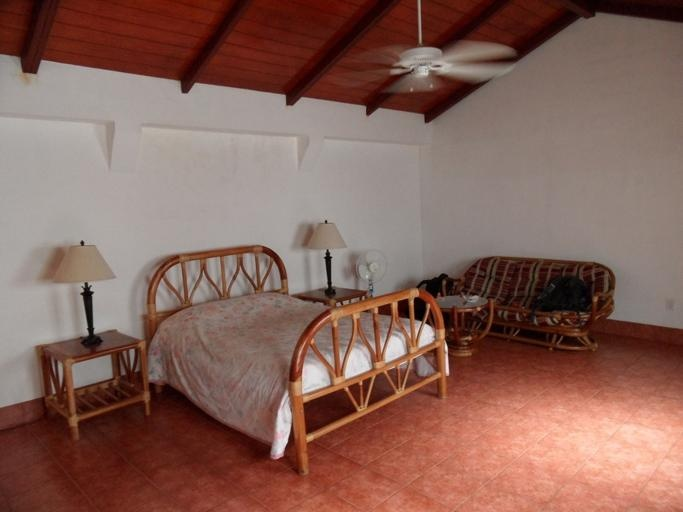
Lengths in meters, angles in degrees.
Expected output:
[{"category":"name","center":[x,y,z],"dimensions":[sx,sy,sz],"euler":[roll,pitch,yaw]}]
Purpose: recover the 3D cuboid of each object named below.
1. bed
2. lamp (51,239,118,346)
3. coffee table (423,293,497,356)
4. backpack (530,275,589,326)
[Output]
[{"category":"bed","center":[-0.785,0.824,4.978],"dimensions":[2.177,1.378,2.643],"euler":[-11,13,-42]},{"category":"lamp","center":[-2.589,0.370,4.745],"dimensions":[0.497,1.022,0.618],"euler":[-4,5,-36]},{"category":"coffee table","center":[1.545,0.866,6.189],"dimensions":[0.933,0.735,0.799],"euler":[1,14,5]},{"category":"backpack","center":[2.766,0.498,5.909],"dimensions":[0.682,0.272,0.535],"euler":[-26,28,-11]}]
